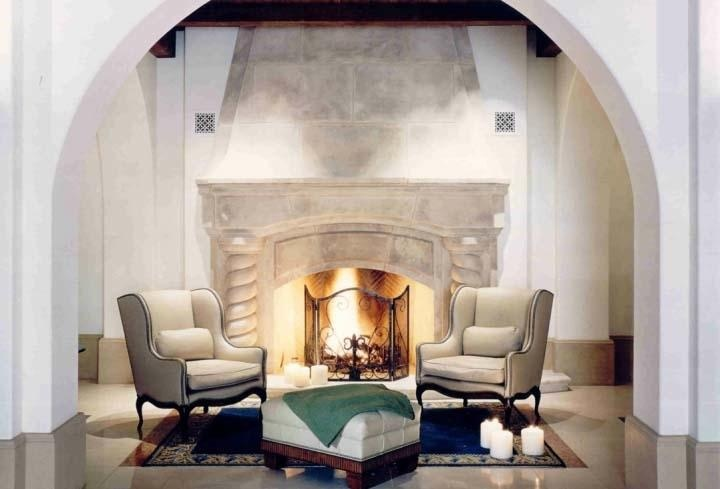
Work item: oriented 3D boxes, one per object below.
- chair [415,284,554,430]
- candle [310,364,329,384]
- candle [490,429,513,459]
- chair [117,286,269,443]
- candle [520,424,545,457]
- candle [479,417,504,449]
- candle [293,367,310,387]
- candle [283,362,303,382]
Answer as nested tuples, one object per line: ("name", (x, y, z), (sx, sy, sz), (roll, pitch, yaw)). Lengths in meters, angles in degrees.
("chair", (1.174, 1.027, 6.932), (1.181, 1.311, 1.250), (1, -3, 14))
("candle", (-0.427, 1.378, 7.922), (0.170, 0.204, 0.183), (1, -1, 10))
("candle", (1.145, 1.616, 6.036), (0.195, 0.209, 0.207), (-2, -1, 8))
("chair", (-1.510, 1.000, 6.790), (1.055, 1.218, 1.224), (-1, -2, -36))
("candle", (1.413, 1.608, 6.099), (0.178, 0.212, 0.181), (-4, 5, -26))
("candle", (1.124, 1.569, 6.201), (0.200, 0.247, 0.207), (1, -2, -20))
("candle", (-0.602, 1.378, 7.875), (0.175, 0.216, 0.181), (4, 5, 31))
("candle", (-0.717, 1.345, 7.944), (0.180, 0.192, 0.193), (1, 5, 0))
